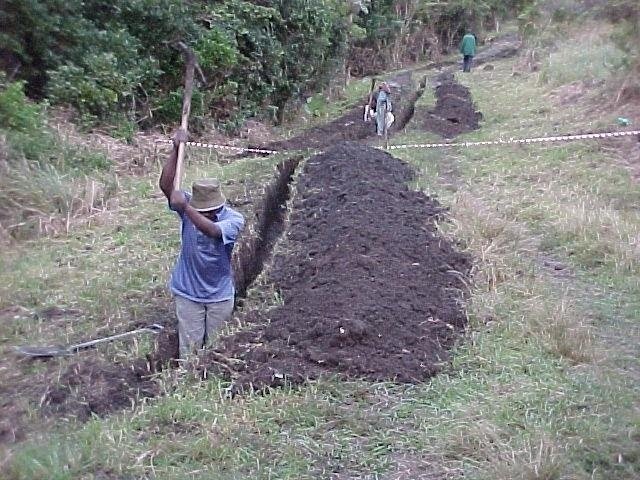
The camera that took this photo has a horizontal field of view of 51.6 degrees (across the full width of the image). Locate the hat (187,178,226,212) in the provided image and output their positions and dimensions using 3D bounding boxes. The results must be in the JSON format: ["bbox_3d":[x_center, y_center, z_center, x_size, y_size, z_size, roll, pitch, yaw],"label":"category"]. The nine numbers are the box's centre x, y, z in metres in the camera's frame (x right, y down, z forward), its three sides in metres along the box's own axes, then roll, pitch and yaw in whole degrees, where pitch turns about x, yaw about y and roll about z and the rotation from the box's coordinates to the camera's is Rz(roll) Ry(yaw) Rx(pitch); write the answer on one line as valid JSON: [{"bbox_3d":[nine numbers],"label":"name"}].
[{"bbox_3d":[-1.395,-0.592,8.071,0.482,0.299,0.571,-4,21,-4],"label":"hat"}]

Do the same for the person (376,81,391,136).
[{"bbox_3d":[1.407,-3.027,15.231,0.330,0.912,0.203,0,-5,11],"label":"person"}]
